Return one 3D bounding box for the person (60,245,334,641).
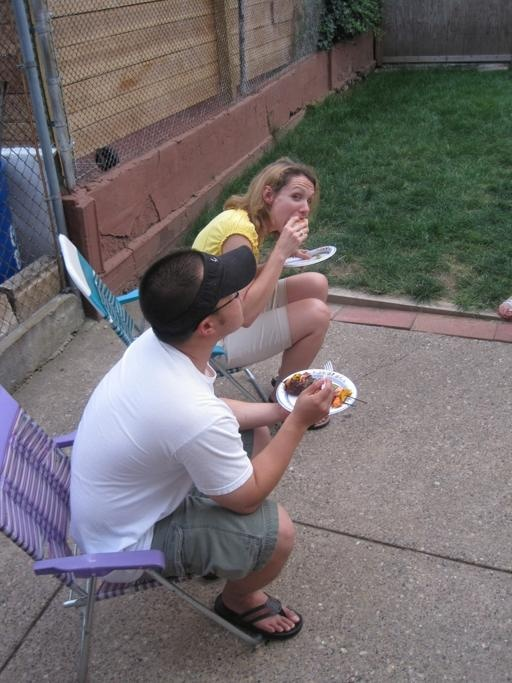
[{"bbox_3d":[-0.147,0.338,1.755,0.823,1.122,0.595,-4,23,-19],"label":"person"}]

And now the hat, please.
[{"bbox_3d":[-0.132,-0.150,1.554,0.160,0.212,0.372,17,37,34],"label":"hat"}]

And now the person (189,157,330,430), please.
[{"bbox_3d":[0.055,-0.247,2.955,0.850,1.227,0.703,14,25,30],"label":"person"}]

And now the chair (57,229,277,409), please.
[{"bbox_3d":[-0.375,-0.128,2.497,0.987,0.826,0.695,-4,-2,8],"label":"chair"}]

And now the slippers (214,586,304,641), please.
[{"bbox_3d":[0.012,0.899,1.947,0.268,0.085,0.147,14,19,25],"label":"slippers"}]
